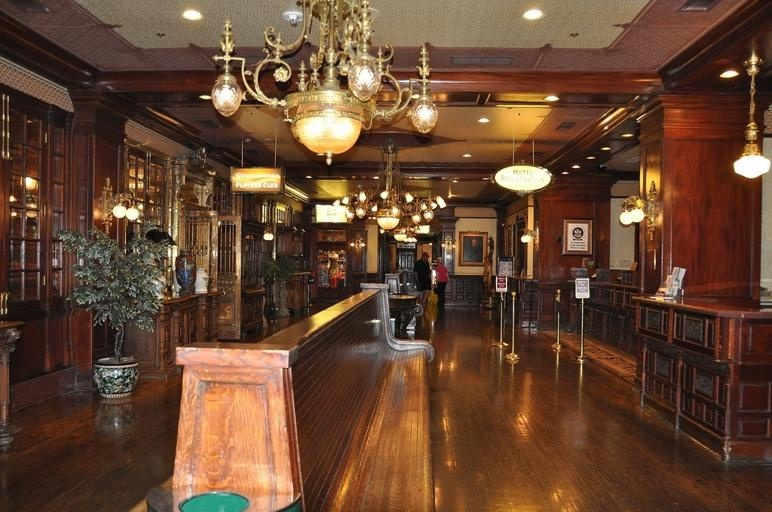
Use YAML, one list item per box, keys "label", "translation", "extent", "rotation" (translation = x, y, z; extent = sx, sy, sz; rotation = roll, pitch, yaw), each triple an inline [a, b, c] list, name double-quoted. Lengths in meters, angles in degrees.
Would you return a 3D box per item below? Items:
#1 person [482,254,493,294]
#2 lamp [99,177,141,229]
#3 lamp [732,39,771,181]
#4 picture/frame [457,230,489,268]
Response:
- label: "person"
  translation: [3.373, 0.649, 17.903]
  extent: [0.242, 1.303, 0.474]
  rotation: [2, 6, 12]
- label: "lamp"
  translation: [-3.784, -0.758, 7.732]
  extent: [0.365, 0.657, 0.474]
  rotation: [3, 6, 18]
- label: "lamp"
  translation: [4.391, -1.616, 6.460]
  extent: [0.316, 1.396, 1.615]
  rotation: [5, 7, 32]
- label: "picture/frame"
  translation: [3.084, -0.305, 19.082]
  extent: [1.327, 1.530, 0.123]
  rotation: [0, 1, 0]
